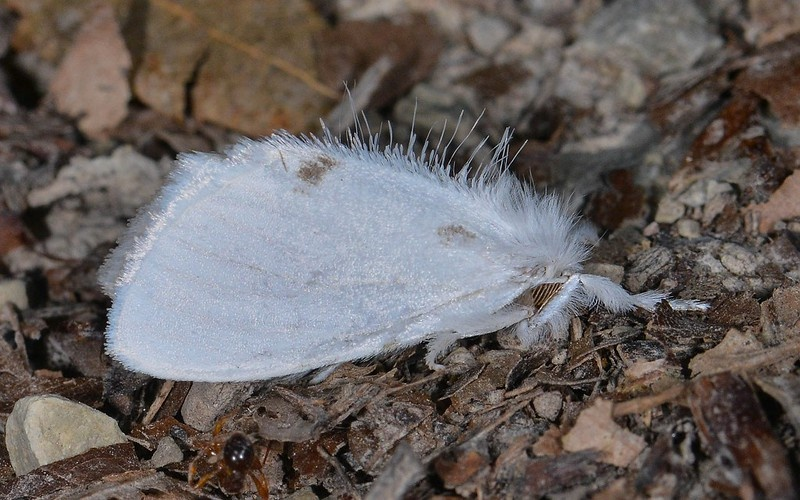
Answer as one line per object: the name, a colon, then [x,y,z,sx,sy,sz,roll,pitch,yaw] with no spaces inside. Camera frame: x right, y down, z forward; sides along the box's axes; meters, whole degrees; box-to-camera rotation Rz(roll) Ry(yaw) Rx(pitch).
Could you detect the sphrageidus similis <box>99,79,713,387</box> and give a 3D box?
sphrageidus similis: [0.102,0.127,3.854,1.862,0.427,0.874,21,80,-4]
